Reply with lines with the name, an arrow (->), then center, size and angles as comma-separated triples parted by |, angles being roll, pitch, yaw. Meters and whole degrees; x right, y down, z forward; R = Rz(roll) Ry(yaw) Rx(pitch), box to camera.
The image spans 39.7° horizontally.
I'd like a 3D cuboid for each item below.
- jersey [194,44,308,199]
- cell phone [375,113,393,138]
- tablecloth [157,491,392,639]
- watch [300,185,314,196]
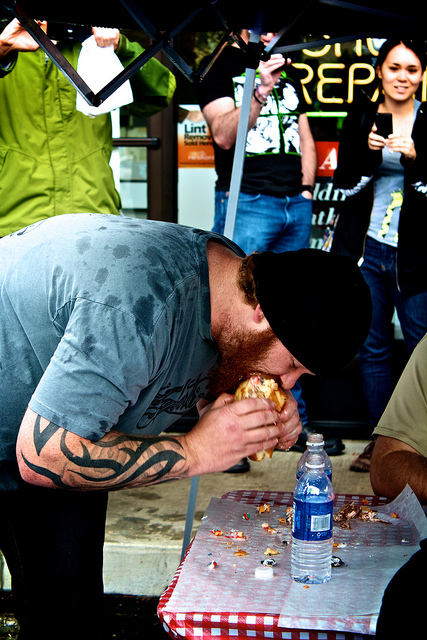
jersey -> 0.276, -1.380, 4.048 | 1.019, 1.071, 0.608 | -13, 27, -25
cell phone -> 1.110, -1.276, 3.845 | 0.108, 0.134, 0.144 | -3, -2, 20
tablecloth -> 0.189, 0.568, 1.457 | 0.497, 0.129, 0.855 | -2, -2, 14
watch -> 0.634, -0.897, 4.036 | 0.070, 0.061, 0.050 | 1, 9, -5
